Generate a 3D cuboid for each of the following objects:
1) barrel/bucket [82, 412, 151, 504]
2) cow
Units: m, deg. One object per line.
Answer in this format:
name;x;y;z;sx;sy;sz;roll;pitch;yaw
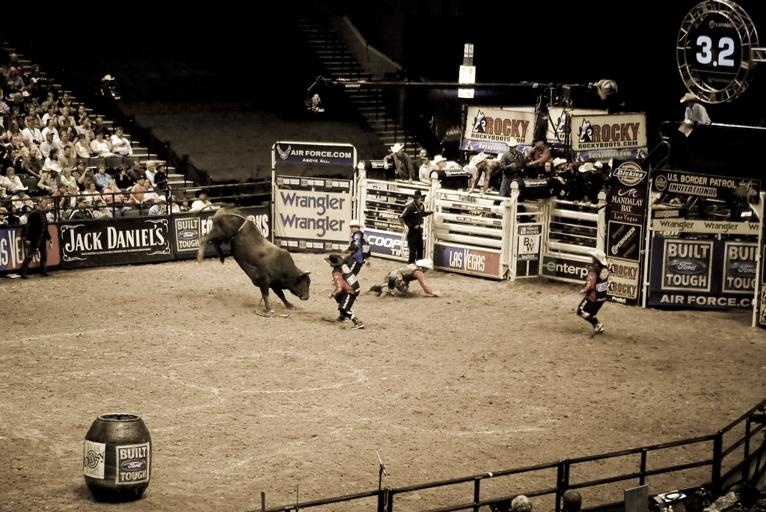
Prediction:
barrel/bucket;-5.496;4.182;22.807;1.826;1.937;1.676;0;-6;0
cow;-3.603;0.108;31.460;2.884;3.048;0.999;0;6;13
